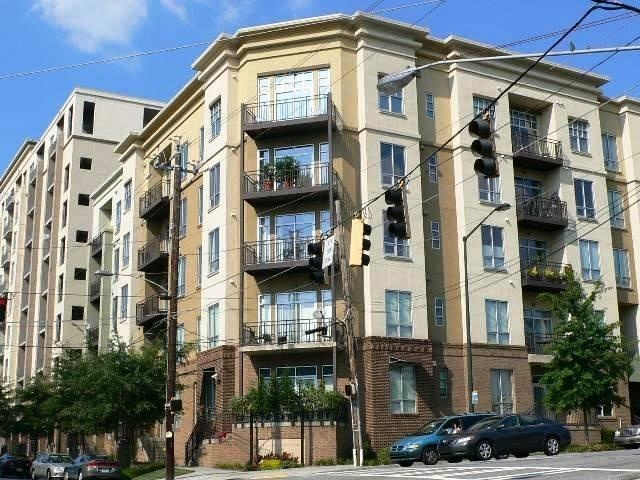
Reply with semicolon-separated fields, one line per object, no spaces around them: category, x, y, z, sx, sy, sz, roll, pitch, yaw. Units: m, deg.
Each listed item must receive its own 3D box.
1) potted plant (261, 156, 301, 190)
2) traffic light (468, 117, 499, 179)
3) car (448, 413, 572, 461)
potted plant;-2.354;-3.811;54.042;2.310;2.411;1.789;0;-8;-6
traffic light;5.380;-3.268;30.391;0.737;2.413;1.113;-8;-19;18
car;8.521;9.144;42.075;6.218;2.048;2.570;2;-16;-23
